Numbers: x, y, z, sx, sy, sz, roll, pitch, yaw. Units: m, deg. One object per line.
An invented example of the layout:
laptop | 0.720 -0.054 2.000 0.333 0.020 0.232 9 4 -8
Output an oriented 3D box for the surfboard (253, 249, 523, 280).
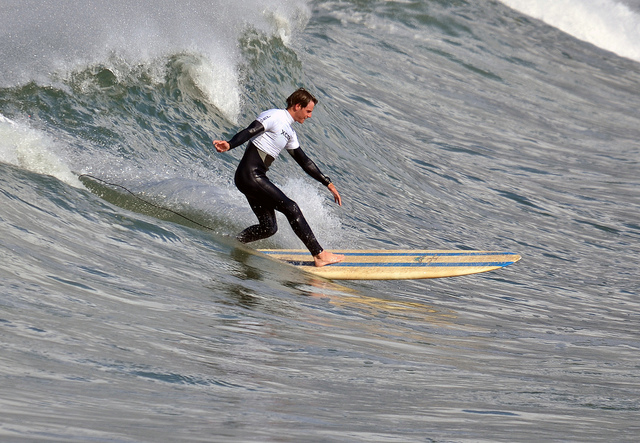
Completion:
surfboard | 0.707 0.529 9.269 3.144 0.488 0.177 2 -76 -17
